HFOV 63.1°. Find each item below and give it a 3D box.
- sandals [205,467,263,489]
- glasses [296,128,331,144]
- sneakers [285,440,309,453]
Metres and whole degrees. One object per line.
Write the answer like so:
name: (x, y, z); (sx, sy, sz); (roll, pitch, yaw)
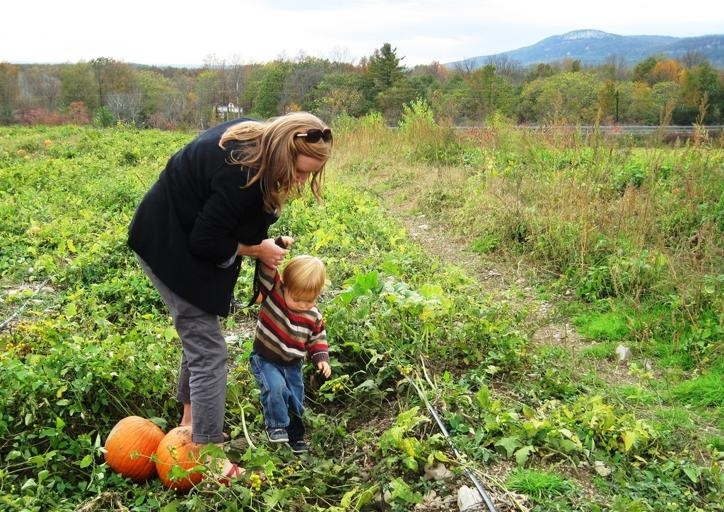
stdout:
sandals: (-0.866, 1.536, 4.166); (0.350, 0.129, 0.098); (6, 12, 20)
glasses: (-0.305, -0.801, 3.949); (0.158, 0.054, 0.136); (5, 12, 37)
sneakers: (-0.500, 1.480, 4.618); (0.175, 0.071, 0.069); (1, -1, 28)
